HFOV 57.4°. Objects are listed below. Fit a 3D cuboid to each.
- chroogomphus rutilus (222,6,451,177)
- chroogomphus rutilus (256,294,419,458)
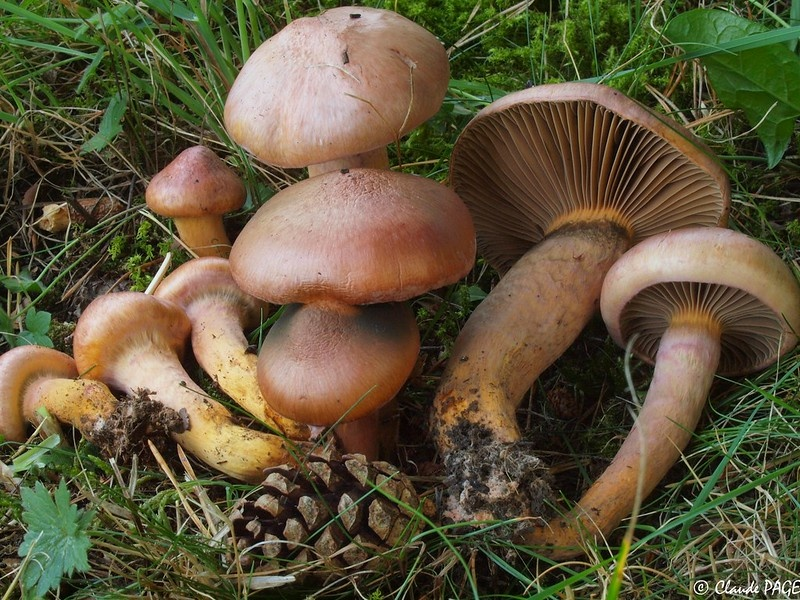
[{"bbox_3d":[-0.294,-0.850,3.163,0.754,0.621,0.753,20,49,35],"label":"chroogomphus rutilus"},{"bbox_3d":[-0.265,0.243,3.039,0.692,0.209,0.537,-5,62,0],"label":"chroogomphus rutilus"}]
